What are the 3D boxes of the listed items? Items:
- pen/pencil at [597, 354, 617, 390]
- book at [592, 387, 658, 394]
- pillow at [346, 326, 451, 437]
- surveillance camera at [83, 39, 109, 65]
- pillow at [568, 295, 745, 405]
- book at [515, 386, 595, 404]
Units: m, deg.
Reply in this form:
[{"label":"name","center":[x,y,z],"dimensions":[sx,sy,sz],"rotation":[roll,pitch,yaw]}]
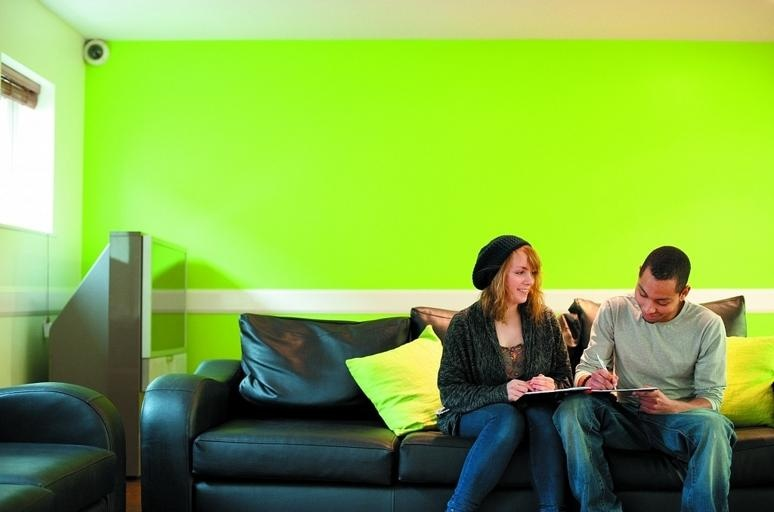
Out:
[{"label":"pen/pencil","center":[1.123,0.597,3.257],"dimensions":[0.023,0.204,0.023],"rotation":[-35,-5,25]},{"label":"book","center":[1.182,0.671,3.158],"dimensions":[0.339,0.021,0.237],"rotation":[6,-10,-26]},{"label":"pillow","center":[0.088,0.699,3.495],"dimensions":[0.495,0.145,0.477],"rotation":[-31,51,-26]},{"label":"surveillance camera","center":[-2.054,-1.430,4.473],"dimensions":[0.189,0.171,0.042],"rotation":[9,7,-5]},{"label":"pillow","center":[1.406,0.492,3.348],"dimensions":[0.921,0.606,0.527],"rotation":[2,-10,28]},{"label":"book","center":[0.835,0.692,3.172],"dimensions":[0.341,0.099,0.223],"rotation":[-3,-4,34]}]
